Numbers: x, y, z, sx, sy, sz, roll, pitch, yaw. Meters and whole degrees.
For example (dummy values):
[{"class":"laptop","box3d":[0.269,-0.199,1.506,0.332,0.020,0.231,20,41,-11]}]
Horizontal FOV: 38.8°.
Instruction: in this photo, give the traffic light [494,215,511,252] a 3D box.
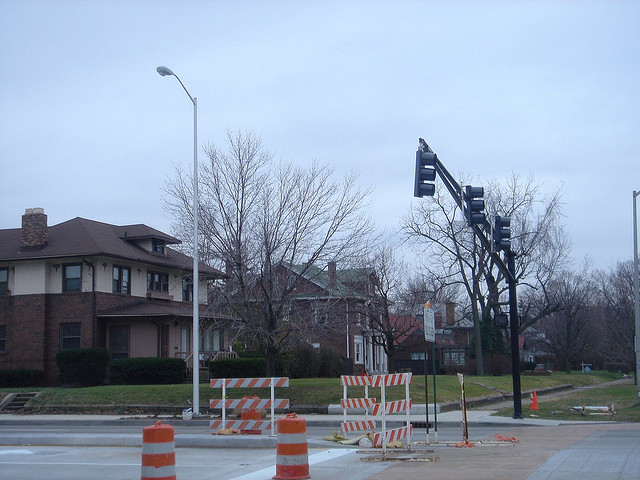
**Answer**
[{"class":"traffic light","box3d":[6.829,-0.351,34.107,0.570,1.249,0.798,-4,-11,0]}]

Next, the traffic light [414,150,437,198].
[{"class":"traffic light","box3d":[3.711,-2.423,32.142,0.811,1.702,0.917,-5,-11,6]}]

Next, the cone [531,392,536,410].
[{"class":"cone","box3d":[8.842,6.746,37.919,0.151,0.474,0.684,-6,-12,12]}]

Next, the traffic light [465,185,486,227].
[{"class":"traffic light","box3d":[5.675,-1.329,33.290,0.655,1.300,1.307,-6,-11,10]}]
